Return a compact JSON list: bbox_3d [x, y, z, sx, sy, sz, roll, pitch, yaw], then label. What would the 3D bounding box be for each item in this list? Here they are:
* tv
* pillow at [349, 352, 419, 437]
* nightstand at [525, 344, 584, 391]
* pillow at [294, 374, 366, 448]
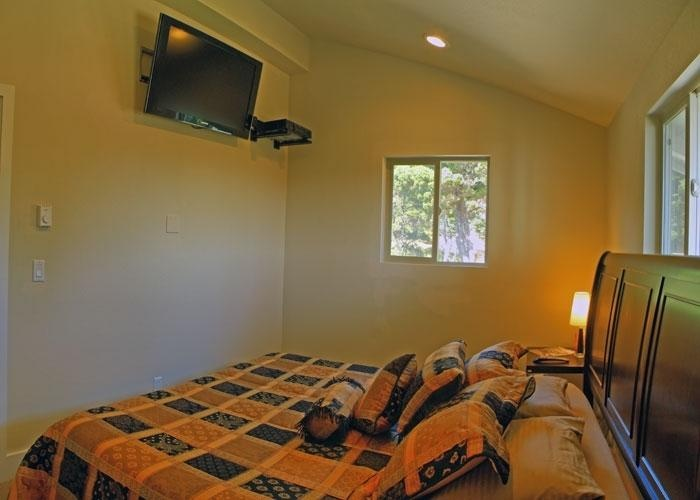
[{"bbox_3d":[-1.159,-1.334,3.703,0.076,0.701,0.966,21,11,36],"label":"tv"},{"bbox_3d":[0.161,0.816,2.488,0.150,0.375,0.369,28,32,4],"label":"pillow"},{"bbox_3d":[1.421,0.817,3.174,0.321,0.247,0.504,0,-2,15],"label":"nightstand"},{"bbox_3d":[-0.087,0.862,2.494,0.201,0.141,0.380,7,12,20],"label":"pillow"}]
